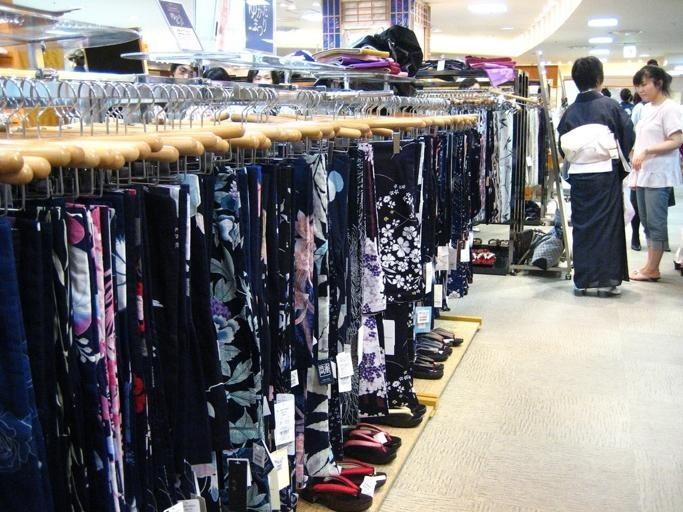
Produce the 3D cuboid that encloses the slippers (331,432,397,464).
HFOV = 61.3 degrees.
[{"bbox_3d":[0.094,0.922,2.796,0.284,0.082,0.109,5,15,27],"label":"slippers"}]

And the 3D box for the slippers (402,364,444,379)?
[{"bbox_3d":[0.519,0.724,3.640,0.243,0.093,0.151,-3,7,5],"label":"slippers"}]

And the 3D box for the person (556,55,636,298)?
[{"bbox_3d":[2.345,-0.570,5.324,0.698,1.868,0.338,6,16,27],"label":"person"}]

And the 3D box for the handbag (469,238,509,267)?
[{"bbox_3d":[1.678,-0.052,6.481,0.387,0.290,0.397,2,14,11],"label":"handbag"}]

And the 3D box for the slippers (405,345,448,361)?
[{"bbox_3d":[0.598,0.652,3.865,0.221,0.077,0.125,0,8,-7],"label":"slippers"}]

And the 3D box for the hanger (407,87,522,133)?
[{"bbox_3d":[1.122,-1.346,5.084,0.842,0.363,1.244,4,9,37],"label":"hanger"}]

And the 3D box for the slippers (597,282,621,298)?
[{"bbox_3d":[2.570,0.303,5.487,0.282,0.126,0.101,-11,16,-39],"label":"slippers"}]

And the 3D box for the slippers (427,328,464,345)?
[{"bbox_3d":[0.772,0.585,4.224,0.277,0.085,0.107,27,-2,-1],"label":"slippers"}]

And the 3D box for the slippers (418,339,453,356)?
[{"bbox_3d":[0.642,0.619,3.966,0.249,0.072,0.103,2,8,9],"label":"slippers"}]

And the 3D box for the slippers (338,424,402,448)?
[{"bbox_3d":[0.143,0.874,2.846,0.302,0.075,0.116,3,8,27],"label":"slippers"}]

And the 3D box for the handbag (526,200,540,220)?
[{"bbox_3d":[2.698,-0.652,8.089,0.203,0.214,0.594,3,14,17],"label":"handbag"}]

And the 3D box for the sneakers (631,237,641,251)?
[{"bbox_3d":[3.736,-0.143,7.288,0.076,0.166,0.165,-3,3,-34],"label":"sneakers"}]

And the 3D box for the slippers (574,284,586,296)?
[{"bbox_3d":[2.265,0.314,5.449,0.101,0.073,0.199,0,0,17],"label":"slippers"}]
